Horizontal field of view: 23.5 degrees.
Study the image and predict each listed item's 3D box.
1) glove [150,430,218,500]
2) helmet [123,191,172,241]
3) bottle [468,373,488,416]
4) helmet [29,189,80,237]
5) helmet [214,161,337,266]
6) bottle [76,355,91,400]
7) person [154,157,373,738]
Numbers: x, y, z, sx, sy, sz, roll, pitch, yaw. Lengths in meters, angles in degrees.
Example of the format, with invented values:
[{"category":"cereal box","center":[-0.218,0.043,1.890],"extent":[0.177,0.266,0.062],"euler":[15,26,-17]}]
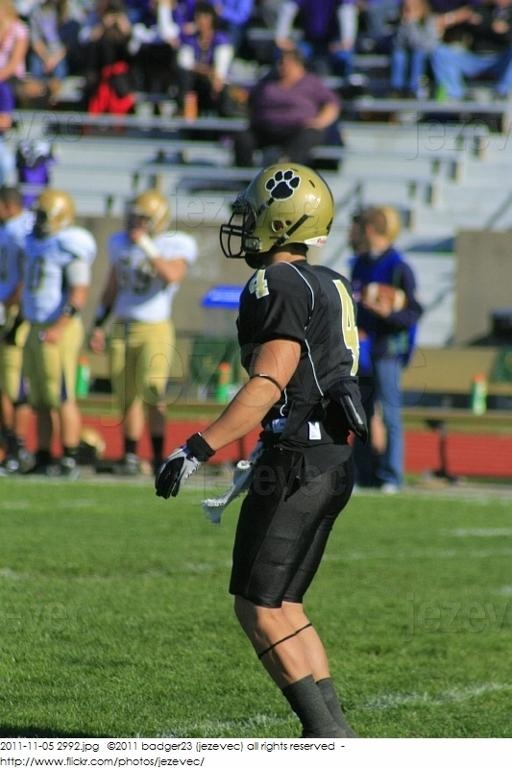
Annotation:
[{"category":"glove","center":[-0.194,0.215,3.301],"extent":[0.219,0.122,0.079],"euler":[-25,26,1]},{"category":"helmet","center":[-0.499,-0.802,5.768],"extent":[0.248,0.212,0.188],"euler":[-1,9,15]},{"category":"bottle","center":[0.999,0.051,5.454],"extent":[0.083,0.159,0.066],"euler":[-21,-45,41]},{"category":"helmet","center":[-0.940,-0.787,5.691],"extent":[0.246,0.205,0.170],"euler":[16,18,-2]},{"category":"helmet","center":[0.051,-0.495,3.527],"extent":[0.396,0.282,0.268],"euler":[6,10,22]},{"category":"bottle","center":[-0.799,-0.039,5.731],"extent":[0.067,0.166,0.088],"euler":[2,-1,31]},{"category":"person","center":[0.053,0.169,3.437],"extent":[0.556,1.581,0.471],"euler":[4,8,4]}]
